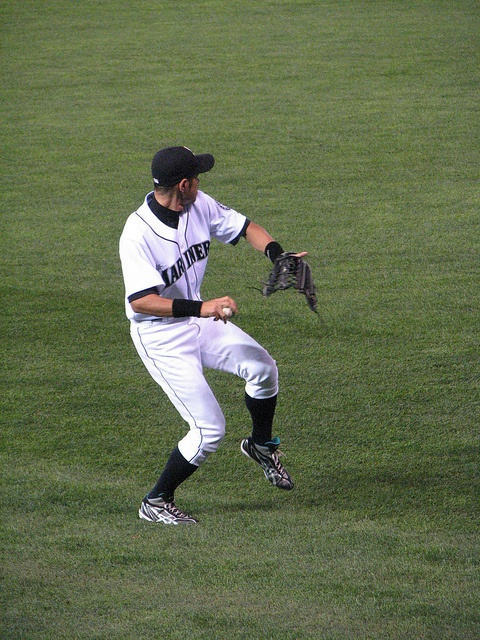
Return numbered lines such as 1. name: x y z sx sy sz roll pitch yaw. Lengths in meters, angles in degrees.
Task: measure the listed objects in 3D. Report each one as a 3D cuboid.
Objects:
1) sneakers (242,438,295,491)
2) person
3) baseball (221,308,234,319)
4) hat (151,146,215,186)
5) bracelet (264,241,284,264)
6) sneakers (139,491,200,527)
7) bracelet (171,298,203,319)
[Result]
1. sneakers: 0.167 0.947 9.363 0.309 0.148 0.103 45 38 4
2. person: -0.211 0.054 9.133 1.078 2.232 0.994 -3 24 -12
3. baseball: -0.076 -0.045 8.760 0.053 0.062 0.049 -18 46 31
4. hat: -0.353 -0.959 8.938 0.345 0.182 0.222 -31 39 -10
5. bracelet: 0.218 -0.432 9.324 0.111 0.141 0.116 -6 1 18
6. sneakers: -0.427 1.192 9.165 0.416 0.193 0.141 7 10 5
7. bracelet: -0.327 -0.069 8.769 0.103 0.063 0.143 7 -7 -34
